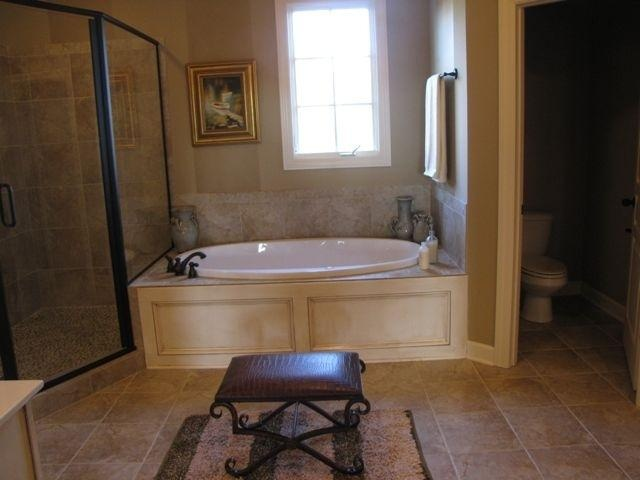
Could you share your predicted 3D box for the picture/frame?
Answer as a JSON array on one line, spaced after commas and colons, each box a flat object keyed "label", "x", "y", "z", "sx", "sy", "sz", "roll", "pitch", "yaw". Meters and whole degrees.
[{"label": "picture/frame", "x": -0.808, "y": -1.218, "z": 4.481, "sx": 0.641, "sy": 0.747, "sz": 0.055, "roll": 0, "pitch": 14, "yaw": 5}]

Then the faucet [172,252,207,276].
[{"label": "faucet", "x": -1.057, "y": 0.196, "z": 4.089, "sx": 0.124, "sy": 0.224, "sz": 0.521, "roll": -3, "pitch": -4, "yaw": -39}]

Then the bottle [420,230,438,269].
[{"label": "bottle", "x": 0.813, "y": 0.081, "z": 3.945, "sx": 0.084, "sy": 0.239, "sz": 0.241, "roll": 4, "pitch": 14, "yaw": 24}]

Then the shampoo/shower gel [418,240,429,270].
[{"label": "shampoo/shower gel", "x": 0.766, "y": 0.116, "z": 3.873, "sx": 0.065, "sy": 0.171, "sz": 0.138, "roll": 1, "pitch": 14, "yaw": 17}]

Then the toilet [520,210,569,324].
[{"label": "toilet", "x": 1.848, "y": 0.228, "z": 4.383, "sx": 0.332, "sy": 0.830, "sz": 0.579, "roll": 2, "pitch": 14, "yaw": 21}]
